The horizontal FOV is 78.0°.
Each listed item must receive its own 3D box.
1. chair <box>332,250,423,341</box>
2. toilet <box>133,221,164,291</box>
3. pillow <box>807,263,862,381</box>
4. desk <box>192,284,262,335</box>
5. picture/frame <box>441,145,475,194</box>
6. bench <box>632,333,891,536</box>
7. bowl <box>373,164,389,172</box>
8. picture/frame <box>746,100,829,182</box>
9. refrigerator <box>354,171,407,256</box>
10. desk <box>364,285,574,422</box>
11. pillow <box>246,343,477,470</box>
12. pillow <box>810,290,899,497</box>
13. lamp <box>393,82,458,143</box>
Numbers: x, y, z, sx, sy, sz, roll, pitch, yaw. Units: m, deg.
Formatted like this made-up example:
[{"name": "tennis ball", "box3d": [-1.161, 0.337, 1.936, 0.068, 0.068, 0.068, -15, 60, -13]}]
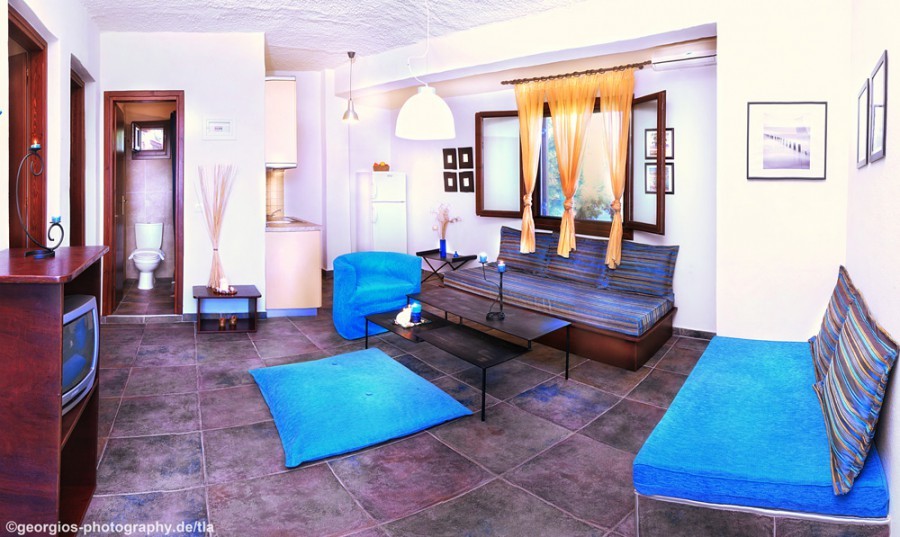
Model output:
[{"name": "chair", "box3d": [-0.905, 0.222, 6.714, 1.182, 0.896, 1.009, -4, 6, -35]}, {"name": "toilet", "box3d": [-4.408, -0.196, 8.184, 0.435, 0.906, 0.693, -4, 13, -26]}, {"name": "pillow", "box3d": [3.009, 0.405, 4.357, 0.103, 0.550, 0.773, 16, 43, 10]}, {"name": "desk", "box3d": [-2.659, 0.417, 6.700, 0.699, 0.386, 0.637, -1, 8, -27]}, {"name": "picture/frame", "box3d": [0.130, -1.548, 8.803, 0.636, 0.706, 0.073, 11, 15, 39]}, {"name": "bench", "box3d": [2.085, 1.121, 3.738, 1.039, 0.698, 1.608, 6, 23, 31]}, {"name": "bowl", "box3d": [-1.121, -1.643, 9.103, 0.241, 0.113, 0.255, 1, 11, 0]}, {"name": "picture/frame", "box3d": [3.237, -1.232, 5.305, 0.863, 0.823, 0.036, 2, 5, 24]}, {"name": "refrigerator", "box3d": [-1.138, -0.928, 9.208, 0.817, 1.312, 0.538, -1, 12, -10]}, {"name": "desk", "box3d": [0.366, 0.574, 5.507, 1.741, 0.586, 1.215, 13, 22, 41]}, {"name": "pillow", "box3d": [-0.823, 1.163, 5.023, 1.547, 0.358, 1.395, -4, 12, -27]}, {"name": "pillow", "box3d": [2.618, 0.841, 3.589, 0.151, 0.782, 1.120, 19, 27, 17]}, {"name": "lamp", "box3d": [-0.247, -1.448, 5.285, 0.591, 0.426, 0.561, -1, 9, -6]}]
